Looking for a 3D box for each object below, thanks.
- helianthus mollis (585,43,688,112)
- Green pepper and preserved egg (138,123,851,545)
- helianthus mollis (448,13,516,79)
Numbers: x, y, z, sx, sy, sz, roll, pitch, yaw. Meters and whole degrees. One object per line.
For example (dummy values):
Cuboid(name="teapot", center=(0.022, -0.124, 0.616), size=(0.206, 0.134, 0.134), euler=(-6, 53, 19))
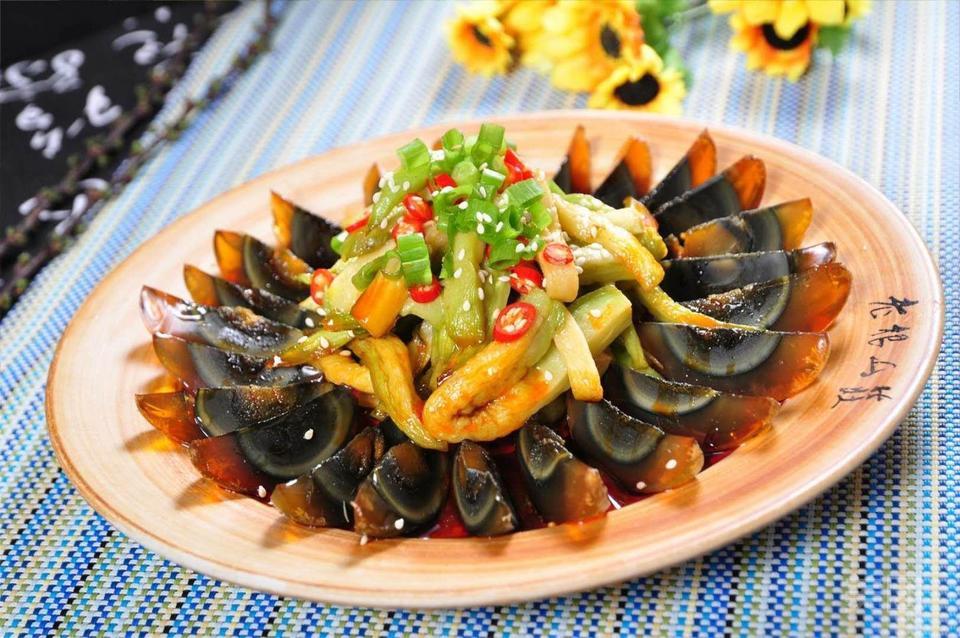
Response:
Cuboid(name="helianthus mollis", center=(0.917, -1.270, 5.101), size=(0.459, 0.156, 0.455), euler=(11, -62, 0))
Cuboid(name="Green pepper and preserved egg", center=(0.085, 0.203, 3.866), size=(2.140, 2.206, 0.923), euler=(-7, -58, 8))
Cuboid(name="helianthus mollis", center=(0.009, -1.659, 5.545), size=(0.431, 0.508, 0.251), euler=(-3, -50, 7))
